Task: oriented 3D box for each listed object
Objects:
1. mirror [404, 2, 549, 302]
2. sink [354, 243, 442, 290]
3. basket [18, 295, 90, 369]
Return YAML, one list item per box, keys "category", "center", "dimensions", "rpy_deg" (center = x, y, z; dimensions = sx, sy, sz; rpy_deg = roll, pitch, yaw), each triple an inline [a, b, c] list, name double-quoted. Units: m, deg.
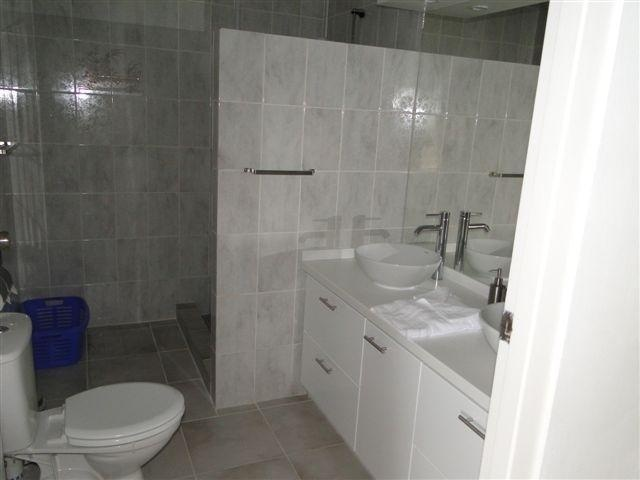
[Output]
- category: "mirror"
  center: [0.756, -0.709, 2.462]
  dimensions: [0.067, 0.867, 0.757]
  rpy_deg: [-7, 16, -23]
- category: "sink"
  center: [0.385, 0.145, 2.640]
  dimensions: [0.454, 0.174, 0.458]
  rpy_deg: [-3, 16, -32]
- category: "basket"
  center: [-1.874, 0.658, 3.536]
  dimensions: [0.475, 0.301, 0.607]
  rpy_deg: [-3, -30, -32]
